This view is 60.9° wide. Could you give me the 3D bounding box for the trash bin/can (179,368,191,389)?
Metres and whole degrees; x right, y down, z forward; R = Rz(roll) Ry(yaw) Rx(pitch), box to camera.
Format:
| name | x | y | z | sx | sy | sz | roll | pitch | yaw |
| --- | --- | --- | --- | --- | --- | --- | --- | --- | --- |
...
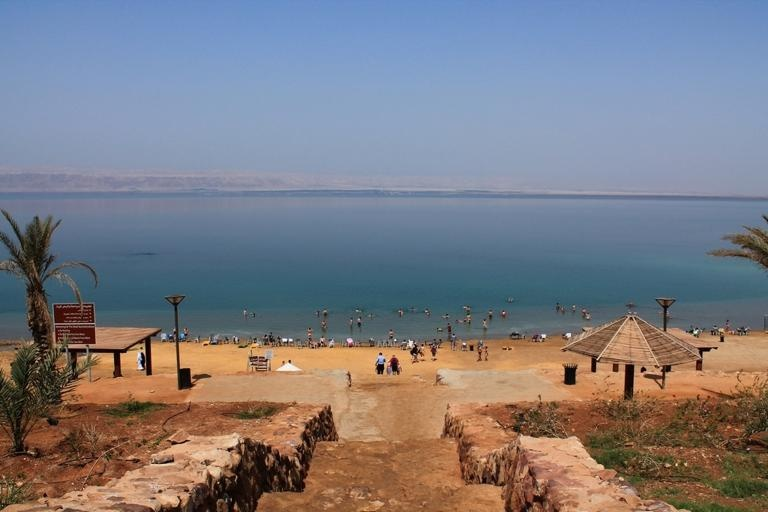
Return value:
| name | x | y | z | sx | sy | sz | roll | pitch | yaw |
| --- | --- | --- | --- | --- | --- | --- | --- | --- | --- |
| trash bin/can | -6.831 | 4.260 | 22.457 | 0.394 | 0.618 | 0.723 | -2 | 4 | -17 |
